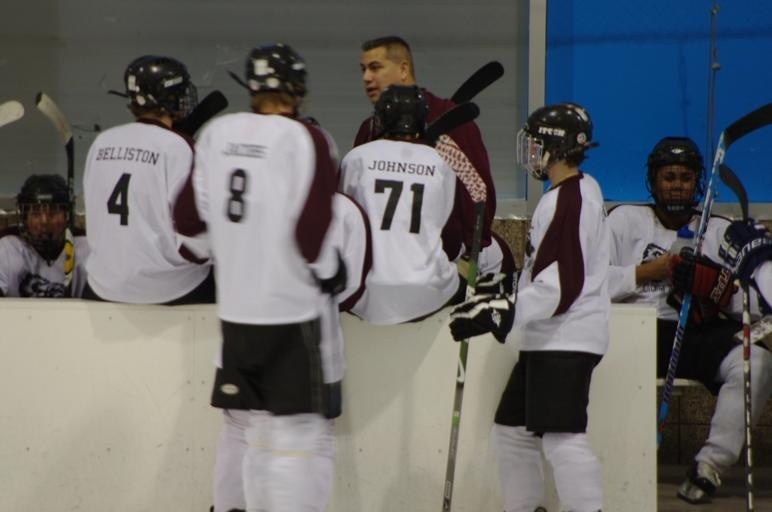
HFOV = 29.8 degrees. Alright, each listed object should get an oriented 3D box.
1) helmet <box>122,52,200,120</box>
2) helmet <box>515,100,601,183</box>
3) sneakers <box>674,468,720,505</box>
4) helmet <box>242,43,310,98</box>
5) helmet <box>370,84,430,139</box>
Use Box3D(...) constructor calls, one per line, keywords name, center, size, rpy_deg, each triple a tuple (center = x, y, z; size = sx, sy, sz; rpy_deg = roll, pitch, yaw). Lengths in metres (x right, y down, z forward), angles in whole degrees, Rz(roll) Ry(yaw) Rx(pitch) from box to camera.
Box3D(name="helmet", center=(-1.295, -0.988, 8.154), size=(0.311, 0.361, 0.393), rpy_deg=(23, 36, 35))
Box3D(name="helmet", center=(0.932, -0.637, 7.835), size=(0.441, 0.398, 0.346), rpy_deg=(3, -1, 8))
Box3D(name="sneakers", center=(1.818, 1.308, 8.375), size=(0.263, 0.198, 0.186), rpy_deg=(0, 6, -3))
Box3D(name="helmet", center=(-0.577, -0.964, 7.518), size=(0.324, 0.250, 0.228), rpy_deg=(3, 1, -9))
Box3D(name="helmet", center=(0.083, -0.784, 7.779), size=(0.261, 0.253, 0.290), rpy_deg=(1, 14, -1))
